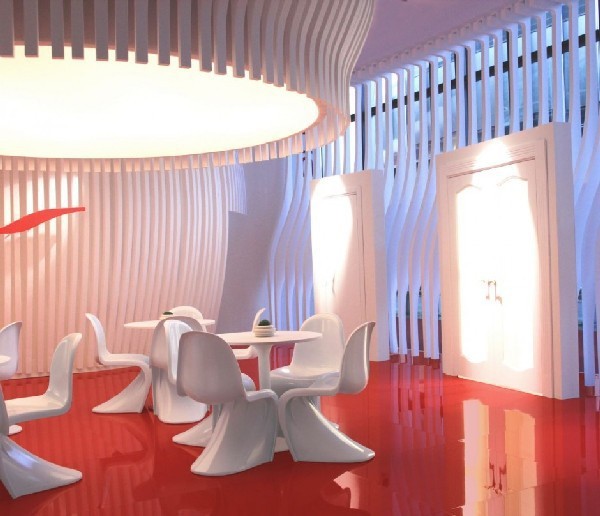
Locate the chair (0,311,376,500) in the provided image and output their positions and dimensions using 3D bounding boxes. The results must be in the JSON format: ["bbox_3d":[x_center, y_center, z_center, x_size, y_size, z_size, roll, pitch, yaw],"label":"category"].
[{"bbox_3d":[-0.473,1.005,3.601,2.093,0.966,0.878,-1,0,-25],"label":"chair"}]
